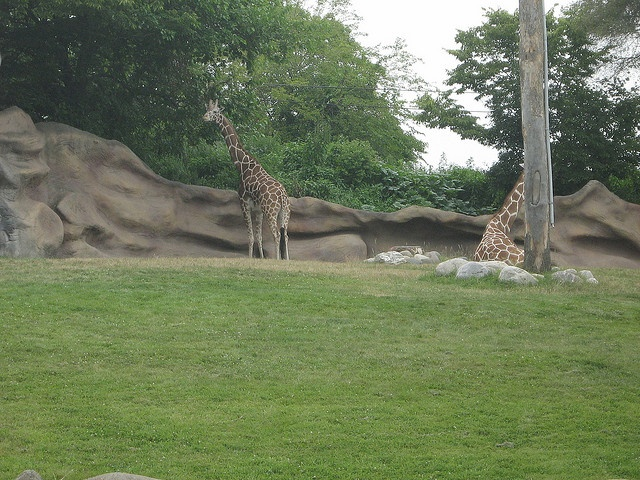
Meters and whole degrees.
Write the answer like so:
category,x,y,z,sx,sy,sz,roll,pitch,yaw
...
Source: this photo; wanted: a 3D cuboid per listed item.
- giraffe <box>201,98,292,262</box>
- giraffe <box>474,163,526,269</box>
category,x,y,z,sx,sy,sz,roll,pitch,yaw
giraffe,-2.178,-1.796,35.973,1.555,4.561,3.103,-7,14,-44
giraffe,5.203,-0.636,34.294,1.305,2.426,2.403,4,10,8
